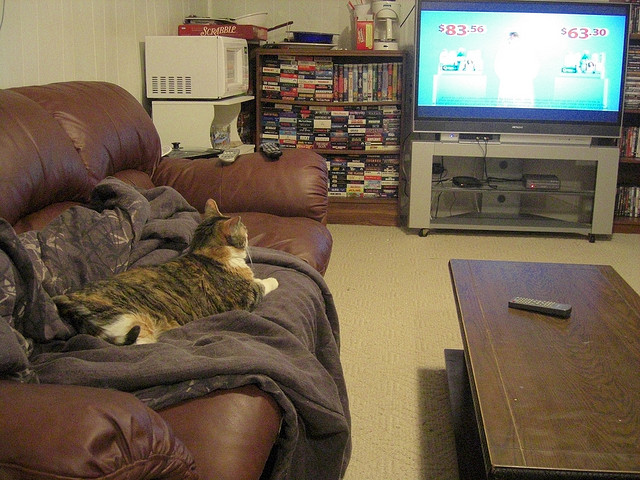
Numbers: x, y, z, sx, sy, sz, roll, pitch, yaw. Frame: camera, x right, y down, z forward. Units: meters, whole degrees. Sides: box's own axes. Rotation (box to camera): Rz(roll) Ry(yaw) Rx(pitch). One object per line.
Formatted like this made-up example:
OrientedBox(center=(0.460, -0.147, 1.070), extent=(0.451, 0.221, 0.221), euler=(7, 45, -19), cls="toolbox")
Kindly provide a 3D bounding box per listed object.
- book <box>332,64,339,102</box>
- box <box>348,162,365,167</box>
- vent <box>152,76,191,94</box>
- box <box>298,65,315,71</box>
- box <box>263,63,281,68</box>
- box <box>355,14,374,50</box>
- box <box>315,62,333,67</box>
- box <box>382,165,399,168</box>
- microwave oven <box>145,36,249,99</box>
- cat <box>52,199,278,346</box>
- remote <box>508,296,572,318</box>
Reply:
OrientedBox(center=(0.132, -1.273, 4.237), extent=(0.052, 0.228, 0.214), euler=(-4, 10, 8), cls="book")
OrientedBox(center=(0.310, -0.624, 4.353), extent=(0.138, 0.042, 0.013), euler=(3, 16, 2), cls="box")
OrientedBox(center=(-0.973, -1.013, 3.400), extent=(0.167, 0.162, 0.040), euler=(-2, 9, 8), cls="vent")
OrientedBox(center=(-0.108, -1.399, 4.230), extent=(0.138, 0.046, 0.026), euler=(0, 16, -9), cls="box")
OrientedBox(center=(-0.396, -1.423, 4.241), extent=(0.148, 0.034, 0.028), euler=(6, 16, 14), cls="box")
OrientedBox(center=(0.358, -1.640, 4.180), extent=(0.154, 0.263, 0.155), euler=(-7, 19, -14), cls="box")
OrientedBox(center=(0.034, -1.424, 4.221), extent=(0.142, 0.036, 0.035), euler=(0, 16, -9), cls="box")
OrientedBox(center=(0.597, -0.609, 4.328), extent=(0.136, 0.027, 0.015), euler=(5, 16, 8), cls="box")
OrientedBox(center=(-0.868, -1.231, 3.718), extent=(0.596, 0.417, 0.826), euler=(4, 19, 8), cls="microwave oven")
OrientedBox(center=(-0.445, 0.102, 1.586), extent=(0.591, 0.279, 0.315), euler=(-17, 24, -40), cls="cat")
OrientedBox(center=(0.744, 0.228, 1.740), extent=(0.154, 0.033, 0.081), euler=(6, 19, 26), cls="remote")
